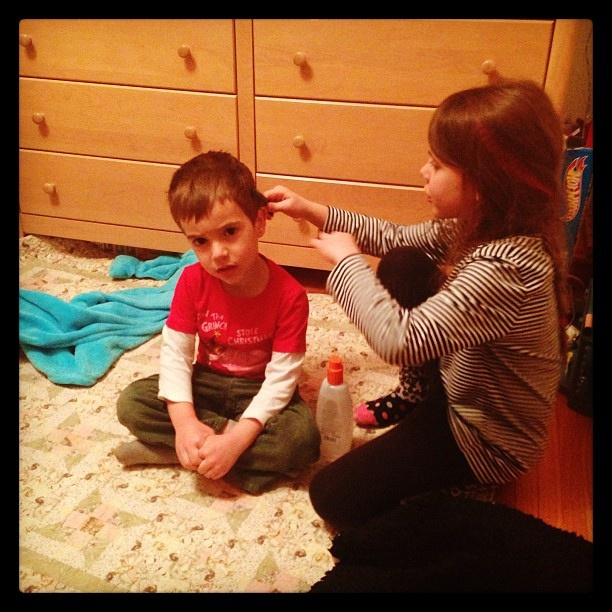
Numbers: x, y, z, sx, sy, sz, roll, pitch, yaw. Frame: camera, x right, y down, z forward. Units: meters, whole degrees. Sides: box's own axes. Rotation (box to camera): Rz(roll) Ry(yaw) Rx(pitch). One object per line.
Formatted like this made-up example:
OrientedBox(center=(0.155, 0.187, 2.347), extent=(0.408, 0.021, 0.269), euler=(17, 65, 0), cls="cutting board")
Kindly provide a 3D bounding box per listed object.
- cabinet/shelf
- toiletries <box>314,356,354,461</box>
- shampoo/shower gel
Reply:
OrientedBox(center=(-0.164, -0.338, 1.531), extent=(1.296, 0.831, 0.493), euler=(1, -20, -1), cls="cabinet/shelf")
OrientedBox(center=(0.049, 0.181, 0.958), extent=(0.068, 0.193, 0.049), euler=(4, 22, 16), cls="toiletries")
OrientedBox(center=(0.048, 0.177, 0.955), extent=(0.063, 0.177, 0.045), euler=(3, 17, 10), cls="shampoo/shower gel")
